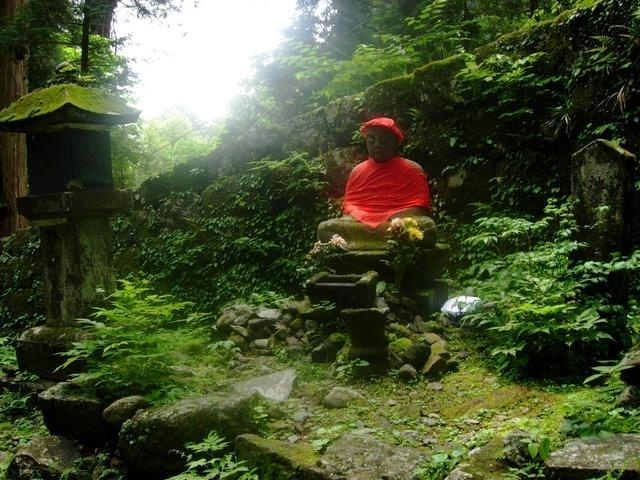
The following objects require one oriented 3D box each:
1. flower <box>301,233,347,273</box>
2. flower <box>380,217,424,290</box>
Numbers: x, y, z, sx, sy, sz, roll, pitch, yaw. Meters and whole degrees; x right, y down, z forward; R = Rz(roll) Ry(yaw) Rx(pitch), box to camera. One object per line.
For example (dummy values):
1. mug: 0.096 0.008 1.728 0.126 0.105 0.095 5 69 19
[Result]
1. flower: 0.118 0.167 8.851 0.567 0.398 0.560 -12 -9 11
2. flower: 1.120 0.193 8.275 0.482 0.957 0.529 -3 -4 9
